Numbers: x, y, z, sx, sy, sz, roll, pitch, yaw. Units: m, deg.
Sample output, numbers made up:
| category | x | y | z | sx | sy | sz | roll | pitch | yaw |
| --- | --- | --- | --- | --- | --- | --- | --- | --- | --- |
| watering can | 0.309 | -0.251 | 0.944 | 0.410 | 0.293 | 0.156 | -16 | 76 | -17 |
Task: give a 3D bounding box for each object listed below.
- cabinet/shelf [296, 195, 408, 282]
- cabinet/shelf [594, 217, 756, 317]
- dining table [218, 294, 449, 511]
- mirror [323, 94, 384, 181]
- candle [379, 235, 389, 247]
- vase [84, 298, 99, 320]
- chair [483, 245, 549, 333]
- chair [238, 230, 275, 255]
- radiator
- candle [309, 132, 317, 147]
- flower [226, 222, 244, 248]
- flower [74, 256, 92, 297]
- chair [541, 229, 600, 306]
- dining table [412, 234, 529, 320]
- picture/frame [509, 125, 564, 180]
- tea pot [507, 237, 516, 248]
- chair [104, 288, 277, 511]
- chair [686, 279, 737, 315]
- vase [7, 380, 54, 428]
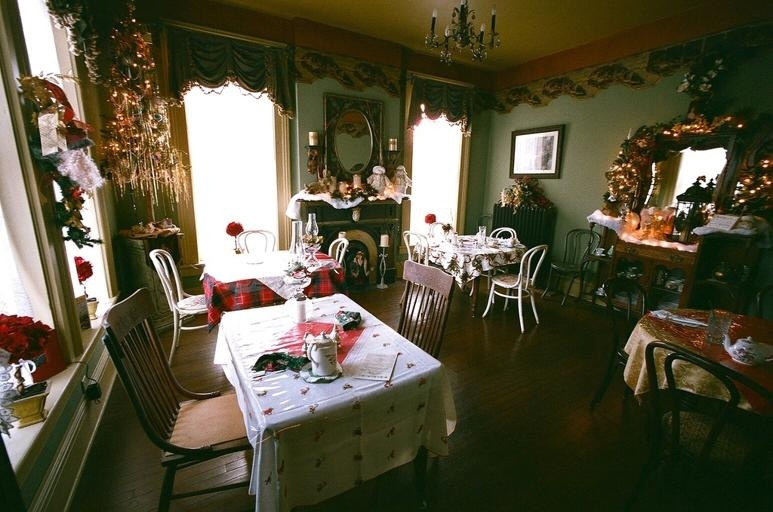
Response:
| category | x | y | z | sx | sy | sz | roll | pitch | yaw |
| --- | --- | --- | --- | --- | --- | --- | --- | --- | --- |
| cabinet/shelf | -0.480 | -0.257 | 6.296 | 1.167 | 0.964 | 0.362 | -6 | 18 | -24 |
| cabinet/shelf | 3.212 | 0.256 | 6.057 | 1.593 | 0.780 | 0.479 | 16 | 5 | 38 |
| dining table | -0.476 | 1.066 | 3.623 | 1.389 | 0.661 | 1.554 | -10 | 21 | -29 |
| mirror | -0.479 | -1.629 | 6.620 | 1.140 | 1.418 | 0.059 | -10 | 18 | -33 |
| candle | -0.036 | -0.206 | 6.914 | 0.161 | 0.171 | 0.151 | 1 | 15 | -2 |
| vase | -2.811 | 0.492 | 4.703 | 0.176 | 0.186 | 0.173 | -6 | 16 | -26 |
| chair | 1.583 | 0.297 | 5.999 | 0.559 | 1.007 | 0.620 | -8 | 16 | -36 |
| chair | -1.640 | -0.181 | 6.253 | 0.366 | 0.533 | 0.373 | -2 | 8 | -21 |
| radiator | 1.935 | -0.130 | 6.766 | 0.194 | 1.328 | 1.030 | -13 | 21 | -42 |
| candle | -0.931 | -1.485 | 6.233 | 0.118 | 0.189 | 0.118 | -21 | 34 | -39 |
| flower | -1.765 | -0.244 | 5.752 | 0.160 | 0.350 | 0.544 | -2 | 12 | -15 |
| flower | -2.858 | 0.199 | 4.659 | 0.128 | 0.426 | 0.464 | -7 | 14 | -32 |
| chair | 2.514 | 0.091 | 6.752 | 0.536 | 0.978 | 0.500 | 27 | -5 | -22 |
| dining table | 0.873 | 0.088 | 6.285 | 1.115 | 0.426 | 1.061 | -17 | 26 | -38 |
| picture/frame | 2.228 | -1.536 | 7.225 | 0.061 | 0.698 | 0.800 | -8 | 18 | -36 |
| tea pot | 1.588 | -0.173 | 6.275 | 0.122 | 0.103 | 0.105 | 11 | -3 | -26 |
| chair | -1.535 | 1.177 | 3.856 | 1.241 | 1.807 | 0.975 | -6 | 25 | -19 |
| chair | 3.501 | 0.421 | 5.309 | 0.183 | 0.307 | 0.328 | -7 | 9 | -21 |
| vase | -2.614 | 1.090 | 3.614 | 0.262 | 0.198 | 0.278 | 8 | 8 | 44 |
